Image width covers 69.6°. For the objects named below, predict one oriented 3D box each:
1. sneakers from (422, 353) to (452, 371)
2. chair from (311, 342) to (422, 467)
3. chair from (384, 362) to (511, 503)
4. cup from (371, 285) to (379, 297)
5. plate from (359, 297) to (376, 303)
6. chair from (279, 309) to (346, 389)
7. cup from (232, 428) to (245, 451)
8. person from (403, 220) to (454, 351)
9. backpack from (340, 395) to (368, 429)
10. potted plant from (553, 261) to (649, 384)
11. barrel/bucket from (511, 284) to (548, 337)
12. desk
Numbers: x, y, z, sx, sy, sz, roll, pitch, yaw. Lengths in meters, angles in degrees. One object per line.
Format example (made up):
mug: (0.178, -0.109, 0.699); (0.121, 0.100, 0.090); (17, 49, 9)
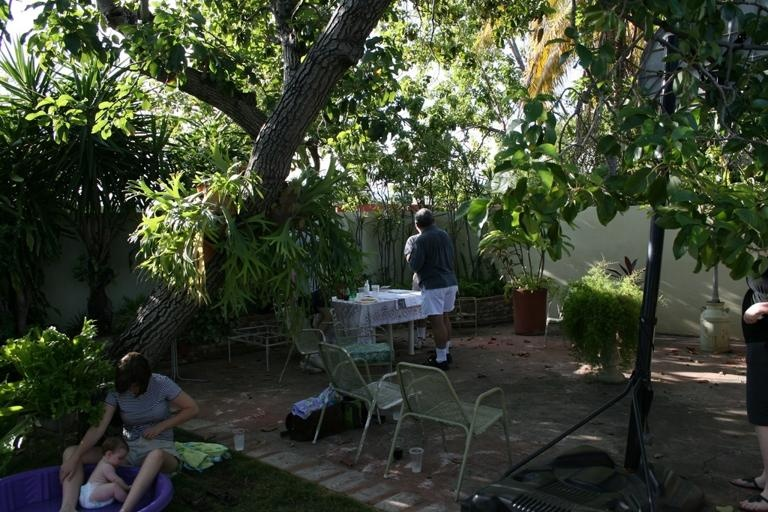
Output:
sneakers: (0.668, 1.517, 7.845); (0.551, 0.250, 0.204); (2, -2, 26)
chair: (-0.158, 1.372, 5.507); (0.945, 1.149, 0.935); (-4, 6, -19)
chair: (0.645, 1.385, 5.035); (0.886, 1.194, 1.159); (3, 8, 43)
cup: (-0.116, 0.532, 8.411); (0.128, 0.207, 0.129); (2, -4, 0)
plate: (-0.219, 0.623, 7.641); (0.191, 0.059, 0.220); (0, -3, -6)
chair: (-1.003, 1.204, 7.656); (0.935, 1.384, 0.859); (1, 4, 29)
cup: (-1.403, 1.790, 5.370); (0.108, 0.186, 0.293); (0, -3, -15)
person: (0.708, 0.435, 7.635); (0.743, 2.186, 0.360); (1, -2, -32)
backpack: (-0.341, 1.667, 5.856); (0.222, 0.328, 0.311); (1, 3, 35)
potted plant: (2.842, 0.742, 7.256); (1.227, 1.694, 1.436); (1, 2, 3)
barrel/bucket: (2.601, 0.999, 9.849); (0.770, 0.882, 0.762); (1, 3, 0)
desk: (0.097, 0.822, 8.197); (0.808, 0.564, 0.594); (23, 16, 35)
